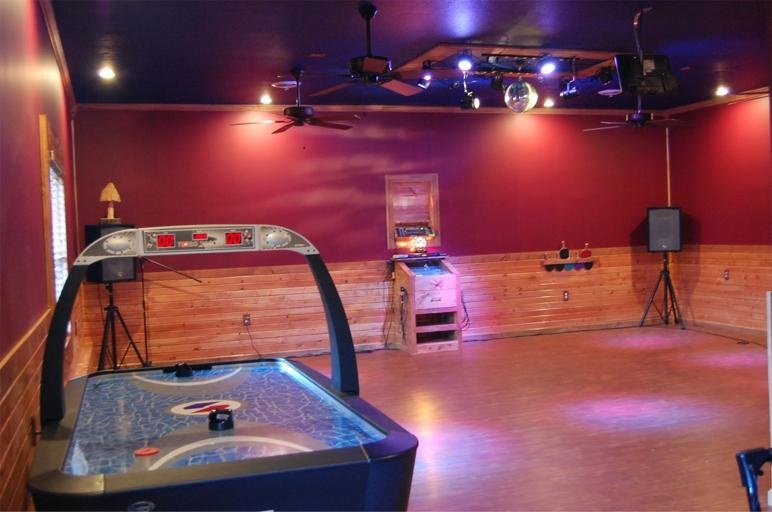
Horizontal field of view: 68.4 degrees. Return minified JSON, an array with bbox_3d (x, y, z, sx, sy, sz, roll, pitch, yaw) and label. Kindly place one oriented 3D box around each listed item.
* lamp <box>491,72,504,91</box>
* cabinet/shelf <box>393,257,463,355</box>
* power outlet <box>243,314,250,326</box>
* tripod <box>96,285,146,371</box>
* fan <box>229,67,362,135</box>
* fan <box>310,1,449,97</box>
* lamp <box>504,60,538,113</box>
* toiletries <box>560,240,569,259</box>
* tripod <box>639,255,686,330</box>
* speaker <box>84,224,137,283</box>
[{"bbox_3d":[1.342,-2.083,6.821,0.133,0.192,0.231,0,8,12],"label":"lamp"},{"bbox_3d":[0.637,0.734,8.795,0.914,1.362,0.690,-4,9,-14],"label":"cabinet/shelf"},{"bbox_3d":[-2.058,0.939,8.402,0.124,0.146,0.038,3,-2,-11],"label":"power outlet"},{"bbox_3d":[-3.519,0.929,7.471,0.581,1.266,1.238,-6,9,-24],"label":"tripod"},{"bbox_3d":[-1.134,-2.032,7.301,1.739,0.634,1.771,1,18,21],"label":"fan"},{"bbox_3d":[-0.145,-2.142,6.238,0.951,0.584,0.916,-6,-10,28],"label":"fan"},{"bbox_3d":[1.560,-1.941,6.559,0.287,0.660,1.402,0,8,14],"label":"lamp"},{"bbox_3d":[3.031,-0.100,9.726,0.205,0.260,0.103,-1,-8,0],"label":"toiletries"},{"bbox_3d":[4.862,0.559,9.942,0.711,1.301,0.903,3,9,28],"label":"tripod"},{"bbox_3d":[-3.595,-0.040,7.369,0.709,0.787,0.517,7,12,45],"label":"speaker"}]
